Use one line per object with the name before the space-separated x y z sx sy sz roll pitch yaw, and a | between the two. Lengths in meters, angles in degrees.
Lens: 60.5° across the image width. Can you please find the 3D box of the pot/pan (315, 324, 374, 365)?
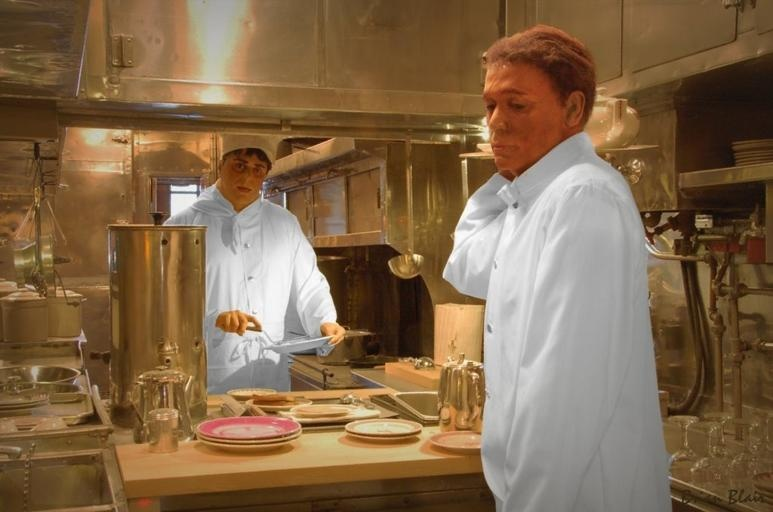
pot/pan | -0.183 0.522 3.824 0.188 0.149 0.319 -5 -5 41

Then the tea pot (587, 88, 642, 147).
tea pot | 0.870 -0.505 2.457 0.157 0.189 0.216 9 18 42

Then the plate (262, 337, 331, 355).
plate | -0.455 0.454 3.299 0.229 0.039 0.175 -5 -5 -1

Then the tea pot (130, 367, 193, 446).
tea pot | -0.910 0.565 2.503 0.289 0.284 0.217 -1 0 -35

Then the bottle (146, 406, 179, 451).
bottle | -0.777 0.629 2.328 0.148 0.142 0.097 0 -1 -10

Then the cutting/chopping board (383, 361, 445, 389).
cutting/chopping board | 0.172 0.630 3.472 0.238 0.122 0.541 -1 -1 -19

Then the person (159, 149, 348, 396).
person | -0.733 0.103 3.720 0.795 1.387 0.557 -1 0 -25
